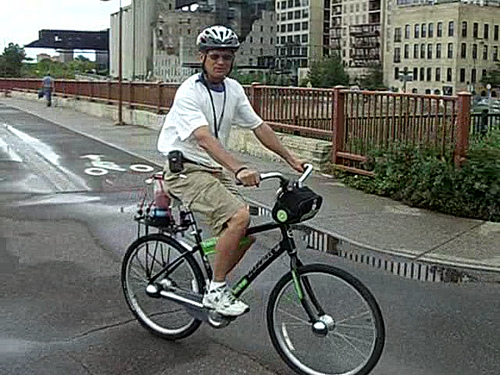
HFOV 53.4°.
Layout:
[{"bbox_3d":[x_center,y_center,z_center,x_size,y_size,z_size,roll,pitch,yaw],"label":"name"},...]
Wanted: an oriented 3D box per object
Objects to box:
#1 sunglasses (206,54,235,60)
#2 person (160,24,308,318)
[{"bbox_3d":[-0.235,-1.024,3.892,0.214,0.052,0.121,2,8,-7],"label":"sunglasses"},{"bbox_3d":[-0.177,-0.162,3.934,0.705,2.225,1.001,-5,10,-44],"label":"person"}]
